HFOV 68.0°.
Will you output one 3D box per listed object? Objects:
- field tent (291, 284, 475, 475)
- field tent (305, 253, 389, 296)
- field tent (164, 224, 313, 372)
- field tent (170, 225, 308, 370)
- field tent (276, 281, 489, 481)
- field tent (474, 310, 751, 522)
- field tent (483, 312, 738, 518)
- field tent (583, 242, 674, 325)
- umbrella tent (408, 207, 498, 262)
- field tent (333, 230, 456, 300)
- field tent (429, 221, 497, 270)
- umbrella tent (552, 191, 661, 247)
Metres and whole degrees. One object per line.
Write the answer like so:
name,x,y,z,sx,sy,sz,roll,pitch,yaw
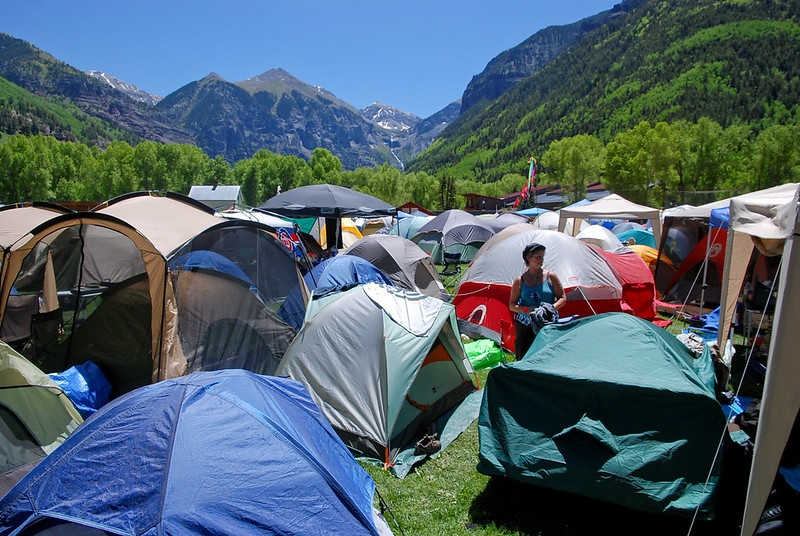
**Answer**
field tent,-0.330,1.284,9.936,3.449,1.874,3.686,4,16,4
field tent,-1.269,0.102,12.506,0.955,0.463,1.100,7,13,38
field tent,-3.040,0.305,11.508,3.109,2.138,3.373,12,-1,-27
field tent,-2.923,0.427,10.462,2.146,1.808,2.311,2,10,10
field tent,-0.391,1.283,10.025,3.437,2.122,3.473,5,18,13
field tent,2.662,1.870,7.887,2.886,2.001,1.456,4,11,14
field tent,3.375,1.760,9.511,3.133,2.047,4.863,0,6,30
field tent,5.697,0.048,13.938,1.680,1.061,1.671,-9,19,-27
umbrella tent,1.890,-1.265,22.046,3.472,1.787,3.689,-1,5,-3
field tent,-0.093,-0.238,14.947,2.060,0.976,1.761,19,21,11
field tent,2.197,-1.032,22.460,1.755,0.888,1.807,-9,14,-24
umbrella tent,5.972,-1.643,16.816,1.976,1.036,2.117,-1,9,5
